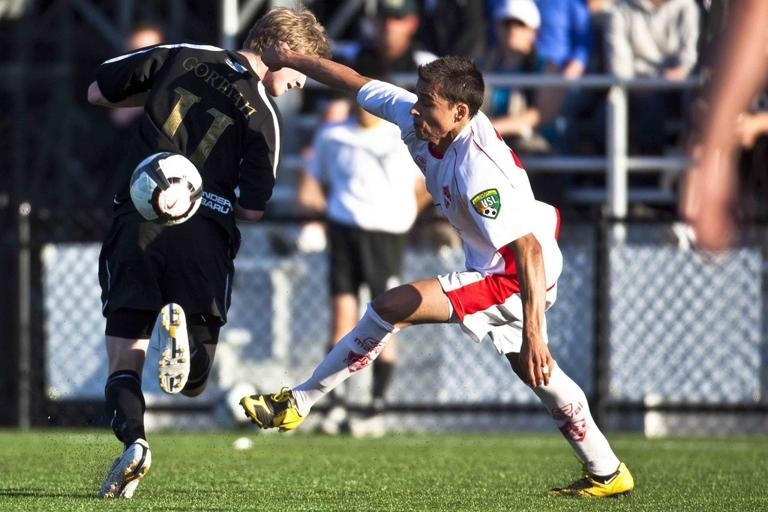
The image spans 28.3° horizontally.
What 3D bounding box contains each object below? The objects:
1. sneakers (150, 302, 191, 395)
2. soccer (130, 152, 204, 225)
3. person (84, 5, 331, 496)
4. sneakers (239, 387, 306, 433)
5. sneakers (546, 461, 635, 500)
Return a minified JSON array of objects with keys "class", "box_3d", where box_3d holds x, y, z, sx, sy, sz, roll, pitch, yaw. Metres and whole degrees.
[{"class":"sneakers","box_3d":[-1.465,0.633,10.318,0.223,0.613,0.258,0,-5,-5]},{"class":"soccer","box_3d":[-1.464,-0.462,10.361,0.456,0.482,0.450,-27,15,-4]},{"class":"person","box_3d":[-1.411,0.078,10.370,1.256,3.030,0.845,1,7,-7]},{"class":"sneakers","box_3d":[-0.804,1.049,10.558,0.476,0.224,0.271,11,-49,-40]},{"class":"sneakers","box_3d":[1.426,1.579,10.677,0.626,0.277,0.239,1,-8,-1]}]
